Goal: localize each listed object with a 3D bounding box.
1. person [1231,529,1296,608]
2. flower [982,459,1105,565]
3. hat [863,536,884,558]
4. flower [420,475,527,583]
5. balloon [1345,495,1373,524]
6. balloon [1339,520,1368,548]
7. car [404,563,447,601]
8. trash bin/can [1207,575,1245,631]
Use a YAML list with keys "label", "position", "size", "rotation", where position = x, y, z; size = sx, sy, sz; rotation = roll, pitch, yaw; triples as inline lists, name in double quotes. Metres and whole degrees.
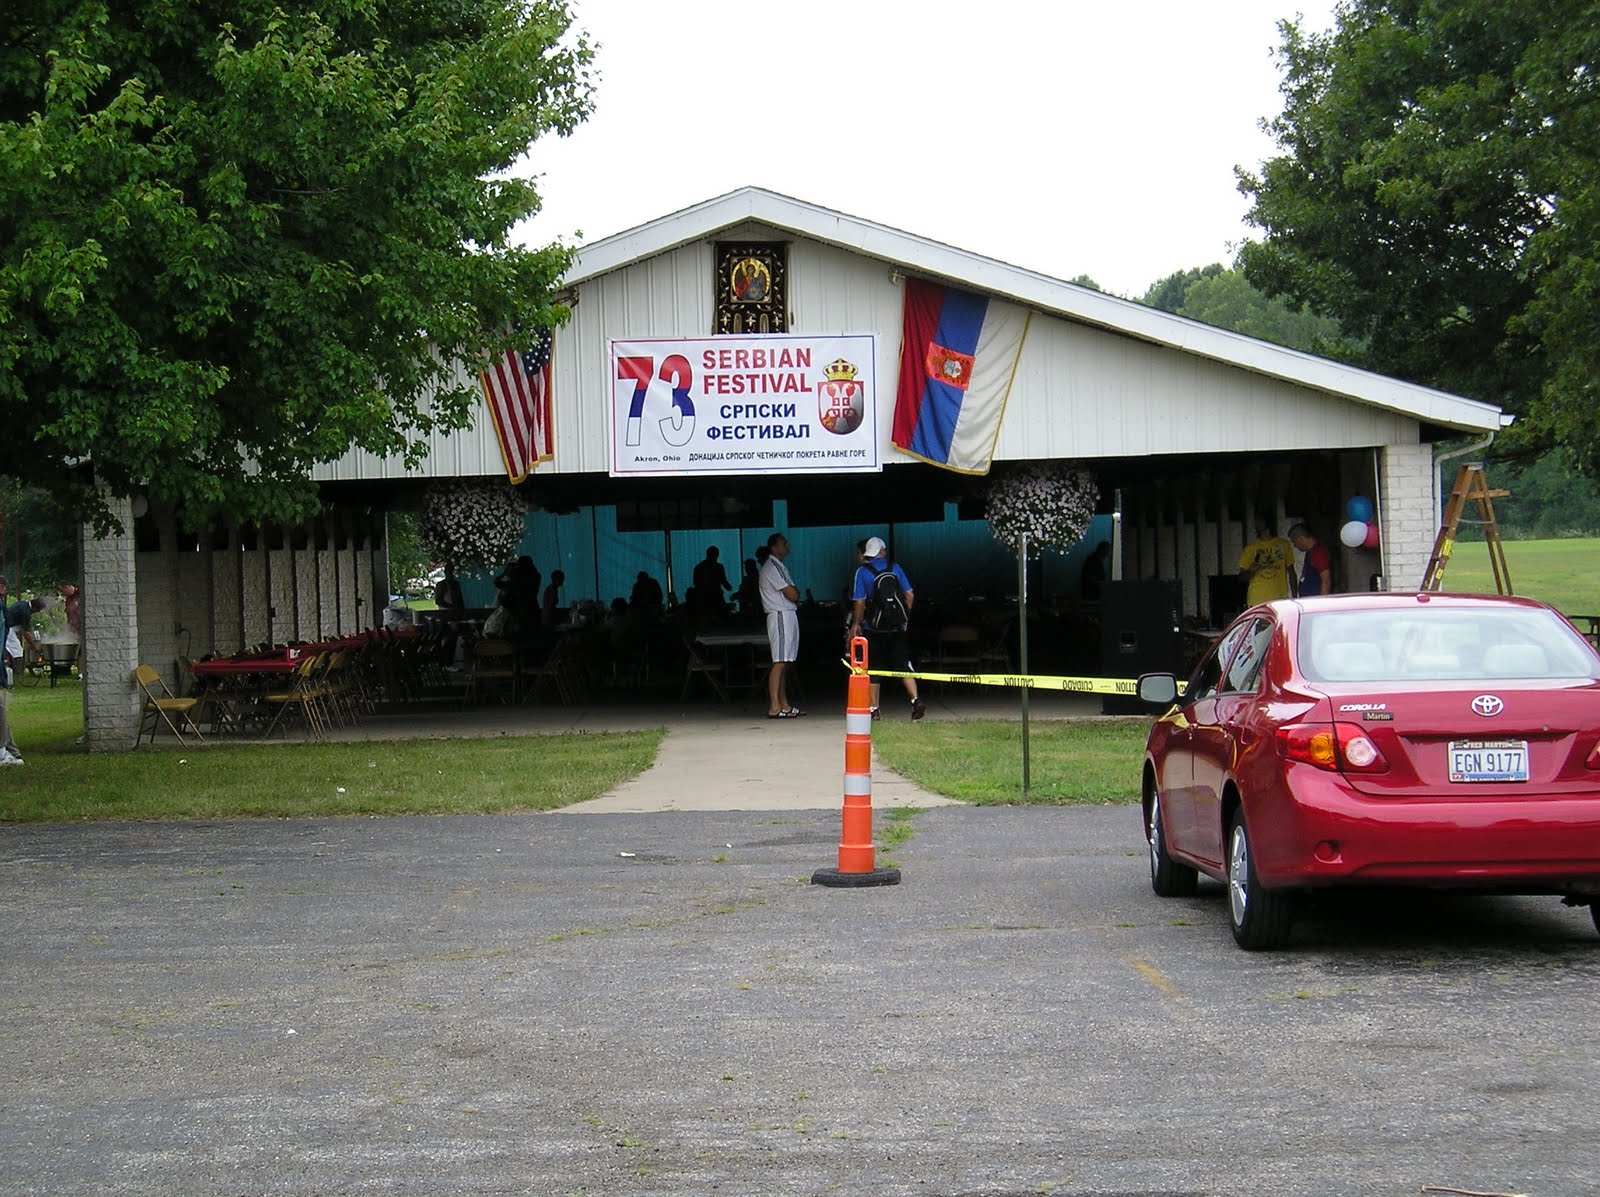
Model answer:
- label: "person"
  position: [5.750, -0.373, 23.892]
  size: [0.756, 1.343, 0.699]
  rotation: [-3, -37, 7]
- label: "flower"
  position: [2.937, -1.075, 24.358]
  size: [1.236, 1.258, 1.358]
  rotation: [-2, 3, -34]
- label: "hat"
  position: [0.855, -0.648, 22.503]
  size: [0.214, 0.243, 0.271]
  rotation: [-1, -17, -30]
- label: "flower"
  position: [-4.094, -0.868, 24.466]
  size: [1.039, 1.191, 1.124]
  rotation: [8, 12, 43]
- label: "balloon"
  position: [6.835, -1.114, 23.666]
  size: [0.307, 0.394, 0.325]
  rotation: [-2, -8, 1]
- label: "balloon"
  position: [6.697, -0.783, 23.333]
  size: [0.267, 0.295, 0.181]
  rotation: [-13, -21, 24]
- label: "car"
  position: [-14.089, -0.657, 72.220]
  size: [1.335, 1.036, 2.121]
  rotation: [-1, -2, -27]
- label: "trash bin/can"
  position: [6.363, -0.009, 28.935]
  size: [0.566, 1.183, 1.072]
  rotation: [0, 3, 3]
